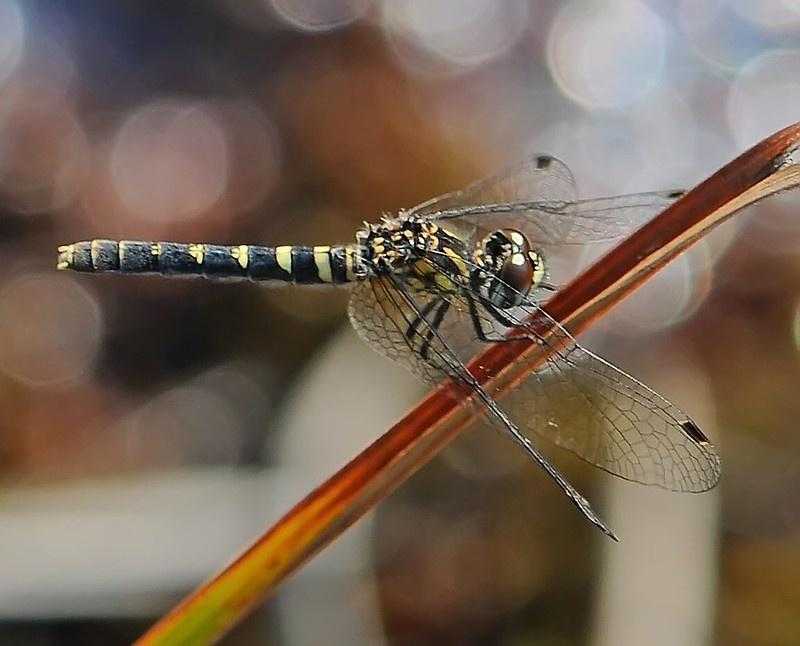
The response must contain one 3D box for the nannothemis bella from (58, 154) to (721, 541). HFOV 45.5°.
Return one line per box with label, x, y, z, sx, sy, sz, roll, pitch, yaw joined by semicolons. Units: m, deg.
nannothemis bella;-0.034;-0.039;1.463;0.964;0.177;0.964;7;47;4
